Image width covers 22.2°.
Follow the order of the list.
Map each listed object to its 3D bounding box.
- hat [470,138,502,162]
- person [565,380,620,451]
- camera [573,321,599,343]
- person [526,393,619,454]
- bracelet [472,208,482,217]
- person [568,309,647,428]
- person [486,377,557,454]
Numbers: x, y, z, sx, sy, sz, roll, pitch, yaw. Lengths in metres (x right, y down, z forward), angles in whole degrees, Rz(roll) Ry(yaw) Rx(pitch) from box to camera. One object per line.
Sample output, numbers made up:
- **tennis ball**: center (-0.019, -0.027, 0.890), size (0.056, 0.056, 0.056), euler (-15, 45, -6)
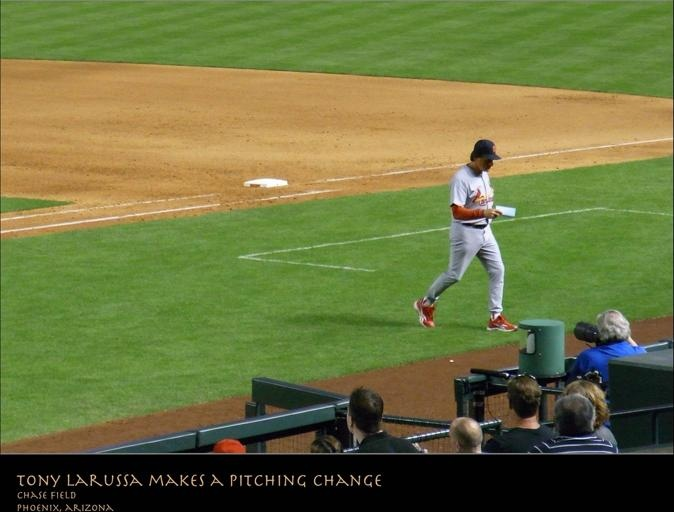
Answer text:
- **hat**: center (2.410, -1.653, 28.246), size (0.538, 0.236, 0.359), euler (12, 17, 31)
- **person**: center (3.582, 2.273, 24.743), size (0.927, 0.876, 0.490), euler (-6, -15, -17)
- **camera**: center (3.737, 1.186, 25.953), size (0.452, 0.192, 0.229), euler (9, -10, 22)
- **person**: center (3.330, 2.363, 24.337), size (1.540, 0.686, 0.856), euler (0, 24, 3)
- **bracelet**: center (2.306, -0.634, 28.244), size (0.137, 0.128, 0.059), euler (-4, 8, 2)
- **person**: center (4.097, 1.713, 25.882), size (1.476, 1.659, 0.966), euler (-10, 20, -22)
- **person**: center (2.658, 2.300, 24.883), size (1.287, 0.797, 0.531), euler (-5, 25, -14)
